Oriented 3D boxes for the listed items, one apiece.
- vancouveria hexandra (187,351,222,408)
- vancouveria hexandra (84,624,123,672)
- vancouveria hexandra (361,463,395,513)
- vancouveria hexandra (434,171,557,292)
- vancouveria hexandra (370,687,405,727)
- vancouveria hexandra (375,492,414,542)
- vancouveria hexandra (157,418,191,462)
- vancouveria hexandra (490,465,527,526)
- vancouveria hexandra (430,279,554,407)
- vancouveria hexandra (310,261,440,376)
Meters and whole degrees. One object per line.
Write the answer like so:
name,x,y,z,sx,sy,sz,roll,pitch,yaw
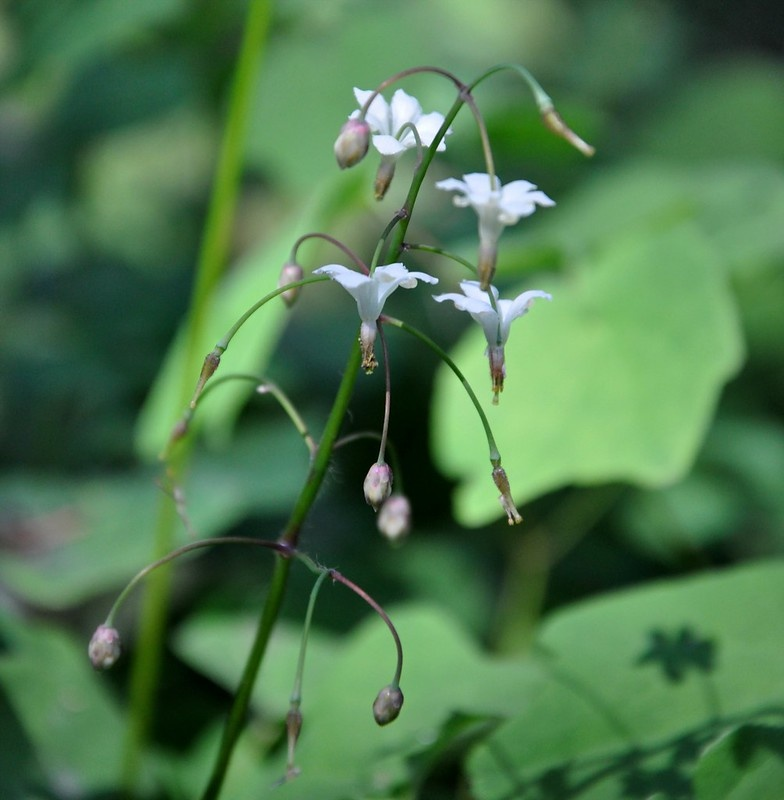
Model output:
vancouveria hexandra,-0.288,-0.033,1.459,0.016,0.024,0.093,19,84,32
vancouveria hexandra,-0.372,0.310,1.226,0.028,0.040,0.057,12,60,2
vancouveria hexandra,-0.021,0.106,1.150,0.033,0.019,0.058,8,94,18
vancouveria hexandra,0.115,-0.184,1.111,0.119,0.135,0.129,5,84,7
vancouveria hexandra,-0.007,0.369,1.162,0.035,0.016,0.056,21,89,16
vancouveria hexandra,0.002,0.188,1.552,0.045,0.020,0.078,4,90,2
vancouveria hexandra,-0.344,0.063,1.516,0.079,0.024,0.023,-55,40,0
vancouveria hexandra,0.136,0.108,1.150,0.026,0.028,0.093,-26,37,7
vancouveria hexandra,0.128,-0.061,1.168,0.130,0.128,0.119,-3,90,39
vancouveria hexandra,-0.017,-0.099,1.148,0.122,0.144,0.132,8,83,21
